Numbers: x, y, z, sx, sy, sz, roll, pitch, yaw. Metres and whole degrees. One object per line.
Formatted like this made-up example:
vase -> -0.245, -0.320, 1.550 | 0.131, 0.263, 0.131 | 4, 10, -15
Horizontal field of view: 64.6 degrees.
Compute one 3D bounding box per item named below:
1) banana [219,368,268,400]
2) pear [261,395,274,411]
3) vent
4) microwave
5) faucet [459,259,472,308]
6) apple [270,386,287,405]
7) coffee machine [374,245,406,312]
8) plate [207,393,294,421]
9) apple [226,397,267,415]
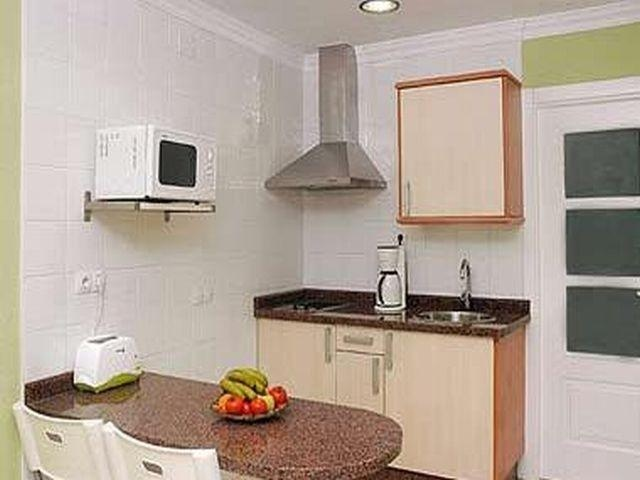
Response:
banana -> -0.290, 0.560, 1.993 | 0.192, 0.090, 0.152 | 13, -11, 10
pear -> -0.186, 0.600, 1.878 | 0.044, 0.055, 0.047 | -21, -8, 6
vent -> 0.102, -0.806, 3.430 | 0.824, 0.995, 0.543 | 6, 6, 34
microwave -> -0.787, -0.347, 2.433 | 0.365, 0.379, 0.474 | 5, 6, 33
faucet -> 0.939, 0.279, 3.264 | 0.083, 0.331, 0.167 | 1, 8, 16
apple -> -0.158, 0.589, 1.936 | 0.059, 0.065, 0.061 | 0, -7, -7
coffee machine -> 0.461, 0.243, 3.255 | 0.226, 0.417, 0.160 | -2, 8, -10
plate -> -0.246, 0.623, 1.877 | 0.243, 0.057, 0.226 | -6, 3, -29
apple -> -0.271, 0.595, 1.858 | 0.128, 0.059, 0.065 | 4, -8, 2
